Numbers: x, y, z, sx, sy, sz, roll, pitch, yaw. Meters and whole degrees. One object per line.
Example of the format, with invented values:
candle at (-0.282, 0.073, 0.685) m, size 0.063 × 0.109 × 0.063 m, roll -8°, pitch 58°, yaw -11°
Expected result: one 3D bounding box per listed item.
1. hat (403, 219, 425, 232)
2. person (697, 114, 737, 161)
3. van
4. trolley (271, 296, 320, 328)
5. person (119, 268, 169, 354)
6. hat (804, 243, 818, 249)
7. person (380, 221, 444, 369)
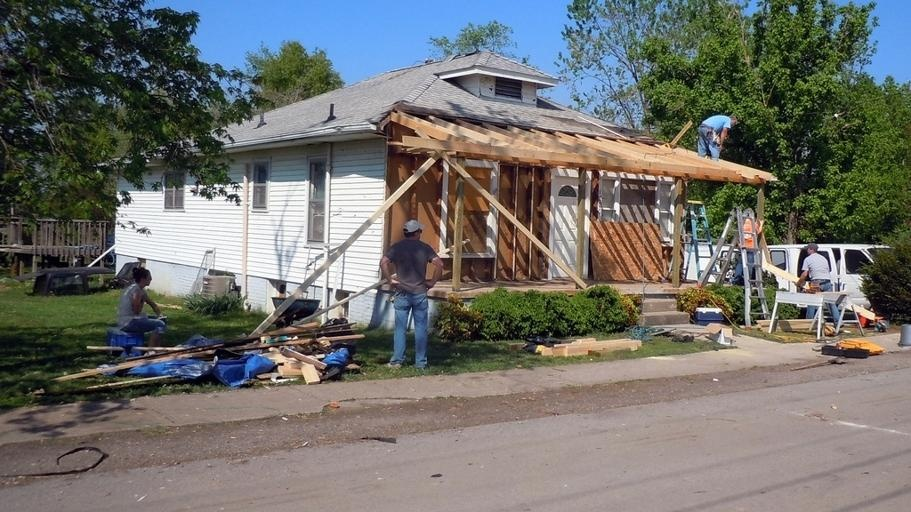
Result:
hat at (-0.942, -0.676, 15.726) m, size 0.430 × 0.199 × 0.302 m, roll -4°, pitch 10°, yaw -36°
person at (8.233, -3.778, 22.322) m, size 0.939 × 1.330 × 1.260 m, roll 8°, pitch 14°, yaw 27°
van at (11.071, 0.746, 22.249) m, size 2.394 × 1.654 × 3.467 m, roll 1°, pitch -2°, yaw -39°
trolley at (-4.230, 1.445, 18.555) m, size 1.189 × 0.589 × 1.060 m, roll -1°, pitch 2°, yaw -33°
person at (-7.015, 1.224, 15.491) m, size 0.911 × 1.910 × 1.340 m, roll -4°, pitch 14°, yaw -24°
hat at (11.182, -0.309, 21.982) m, size 0.265 × 0.172 × 0.338 m, roll 5°, pitch 12°, yaw -27°
person at (-1.003, 0.861, 15.589) m, size 1.214 × 3.142 × 1.229 m, roll -6°, pitch 15°, yaw -31°
